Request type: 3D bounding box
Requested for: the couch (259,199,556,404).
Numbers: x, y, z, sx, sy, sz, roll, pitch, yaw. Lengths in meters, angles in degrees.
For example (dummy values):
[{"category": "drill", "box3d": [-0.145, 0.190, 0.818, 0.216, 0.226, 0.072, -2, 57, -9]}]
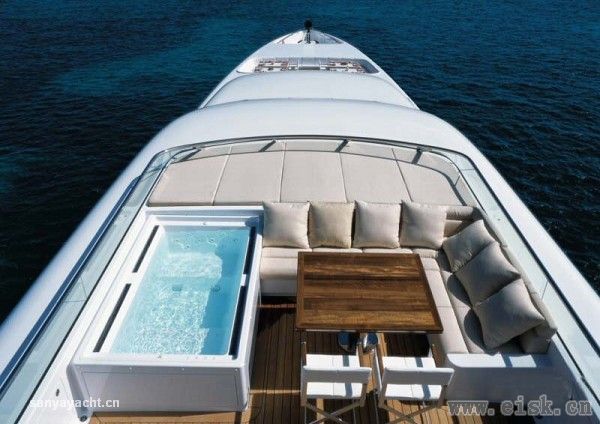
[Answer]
[{"category": "couch", "box3d": [1.658, 1.548, 5.603, 3.314, 2.312, 1.307, 1, -39, 2]}]
